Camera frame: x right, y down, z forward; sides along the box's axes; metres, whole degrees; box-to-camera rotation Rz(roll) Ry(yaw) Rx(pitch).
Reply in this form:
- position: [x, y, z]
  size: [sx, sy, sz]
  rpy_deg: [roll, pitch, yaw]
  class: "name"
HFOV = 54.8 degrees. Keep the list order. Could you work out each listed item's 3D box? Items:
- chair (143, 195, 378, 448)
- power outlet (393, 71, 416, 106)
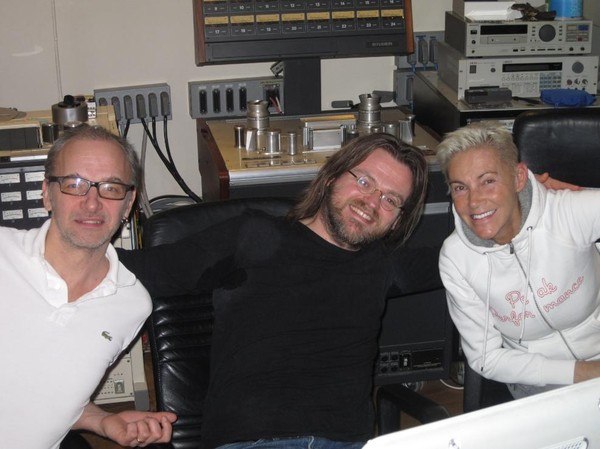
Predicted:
- position: [-0.014, 0.406, 2.154]
  size: [0.658, 0.928, 0.799]
  rpy_deg: [2, -19, -3]
  class: "chair"
- position: [0.652, -0.880, 3.708]
  size: [0.152, 0.226, 0.096]
  rpy_deg: [1, 10, 27]
  class: "power outlet"
